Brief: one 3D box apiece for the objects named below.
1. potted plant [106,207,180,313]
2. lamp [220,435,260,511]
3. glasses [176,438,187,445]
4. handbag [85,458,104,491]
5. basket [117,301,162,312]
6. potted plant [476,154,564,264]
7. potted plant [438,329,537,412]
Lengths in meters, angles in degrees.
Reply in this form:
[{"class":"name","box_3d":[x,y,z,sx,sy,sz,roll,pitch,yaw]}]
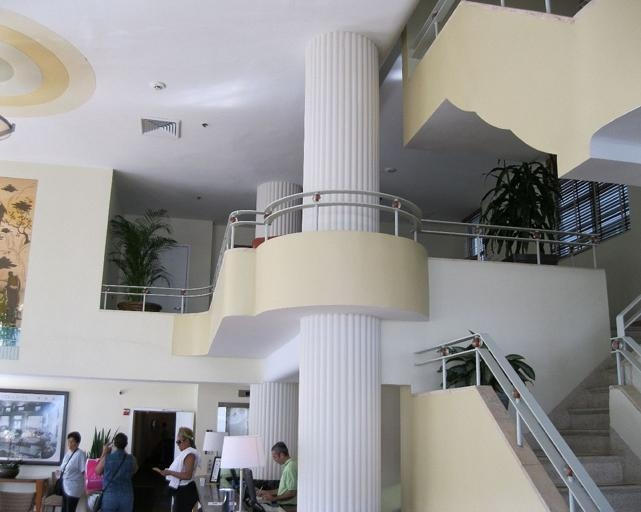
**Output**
[{"class":"potted plant","box_3d":[-4.143,0.264,11.589,1.675,2.258,1.720,-1,0,-33]},{"class":"lamp","box_3d":[-1.041,2.923,6.748,0.528,1.030,0.740,-1,-12,5]},{"class":"glasses","box_3d":[-1.873,2.492,6.790,0.115,0.041,0.119,12,-20,-19]},{"class":"handbag","box_3d":[-3.507,3.297,7.636,0.262,0.259,0.366,27,-34,-15]},{"class":"basket","box_3d":[-3.821,1.065,10.663,0.850,0.229,0.459,5,-13,-22]},{"class":"potted plant","box_3d":[3.284,-0.801,8.108,1.188,1.854,1.220,-1,-14,15]},{"class":"potted plant","box_3d":[1.923,1.469,5.888,0.968,0.979,1.145,-11,-18,0]}]
